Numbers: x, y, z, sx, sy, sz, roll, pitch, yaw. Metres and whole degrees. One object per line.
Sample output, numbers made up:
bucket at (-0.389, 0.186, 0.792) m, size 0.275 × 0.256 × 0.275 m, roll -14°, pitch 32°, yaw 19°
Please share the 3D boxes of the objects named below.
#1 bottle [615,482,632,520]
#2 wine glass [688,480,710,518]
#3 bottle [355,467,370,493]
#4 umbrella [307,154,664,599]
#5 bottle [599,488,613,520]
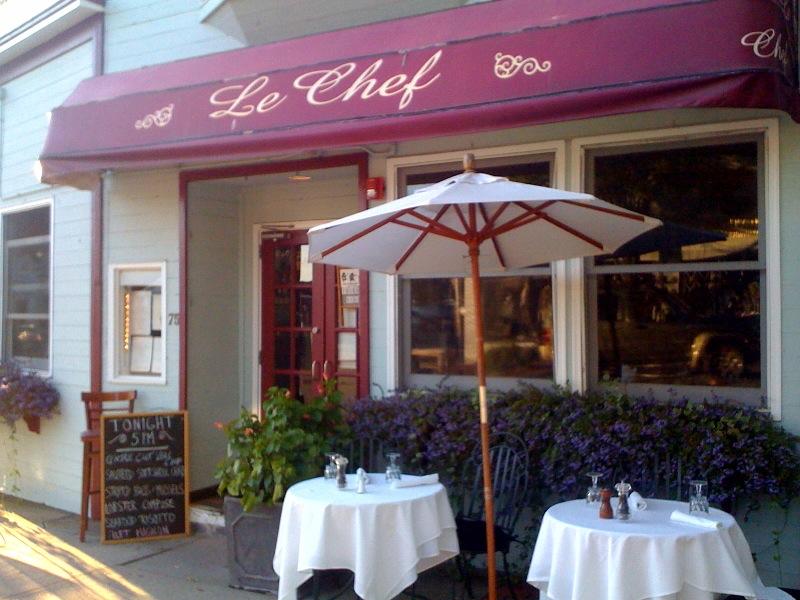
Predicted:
bottle at (1.474, 1.303, 5.690) m, size 0.092 × 0.221 × 0.308 m, roll -1°, pitch 4°, yaw 17°
wine glass at (1.970, 1.310, 5.697) m, size 0.123 × 0.205 × 0.157 m, roll -1°, pitch 3°, yaw 19°
bottle at (-0.271, 1.309, 6.177) m, size 0.119 × 0.215 × 0.118 m, roll 1°, pitch -8°, yaw 0°
umbrella at (0.608, 0.630, 6.403) m, size 2.377 × 3.356 × 1.913 m, roll -1°, pitch 3°, yaw 17°
bottle at (1.344, 1.334, 5.635) m, size 0.095 × 0.186 × 0.086 m, roll -2°, pitch 3°, yaw 9°
